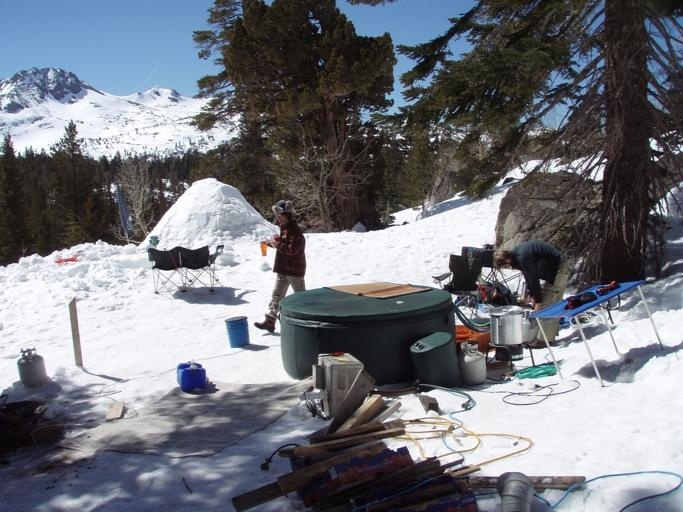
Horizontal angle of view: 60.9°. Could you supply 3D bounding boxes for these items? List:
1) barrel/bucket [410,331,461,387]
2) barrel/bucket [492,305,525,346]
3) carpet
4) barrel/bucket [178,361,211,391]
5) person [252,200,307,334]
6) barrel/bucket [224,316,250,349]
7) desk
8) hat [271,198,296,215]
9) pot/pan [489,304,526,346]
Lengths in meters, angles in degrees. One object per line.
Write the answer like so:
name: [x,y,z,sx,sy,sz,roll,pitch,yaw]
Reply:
barrel/bucket: [0.988,1.120,6.122,0.467,0.527,0.273,-10,14,-26]
barrel/bucket: [2.005,0.777,6.548,0.462,0.458,0.367,0,2,37]
carpet: [-1.386,1.577,5.722,1.432,0.113,2.046,5,14,34]
barrel/bucket: [-1.645,1.328,6.478,0.331,0.282,0.293,4,-12,-32]
person: [-0.802,0.215,7.955,0.737,1.902,0.970,-9,14,-18]
barrel/bucket: [-1.387,1.020,7.871,0.277,0.388,0.267,-4,13,1]
desk: [2.845,0.894,6.509,0.943,0.584,0.477,-21,-1,-33]
hat: [-0.824,-0.679,7.984,0.236,0.180,0.292,-11,12,-25]
pot/pan: [1.851,0.794,6.668,0.463,0.444,0.385,0,1,37]
